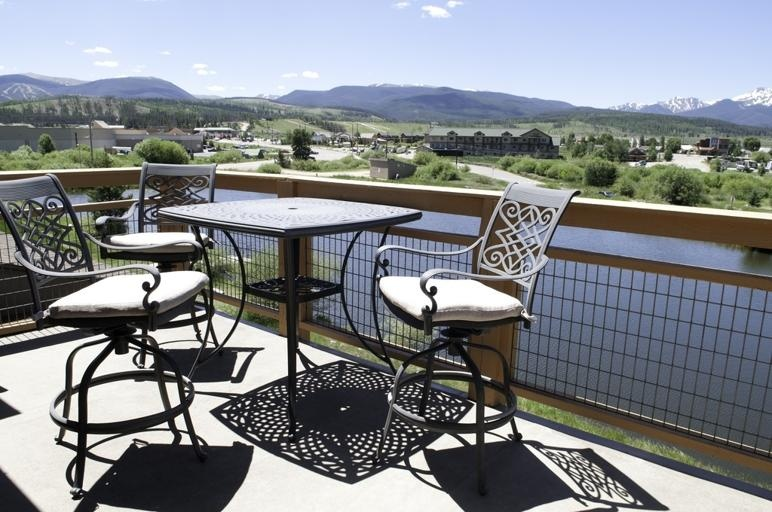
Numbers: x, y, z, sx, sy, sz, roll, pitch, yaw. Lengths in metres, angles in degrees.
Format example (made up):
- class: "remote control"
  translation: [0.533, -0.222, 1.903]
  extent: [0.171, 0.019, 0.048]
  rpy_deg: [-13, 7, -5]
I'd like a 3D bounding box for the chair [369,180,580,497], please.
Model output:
- class: "chair"
  translation: [0.506, 0.319, 4.080]
  extent: [1.679, 2.387, 1.568]
  rpy_deg: [-3, 9, -20]
